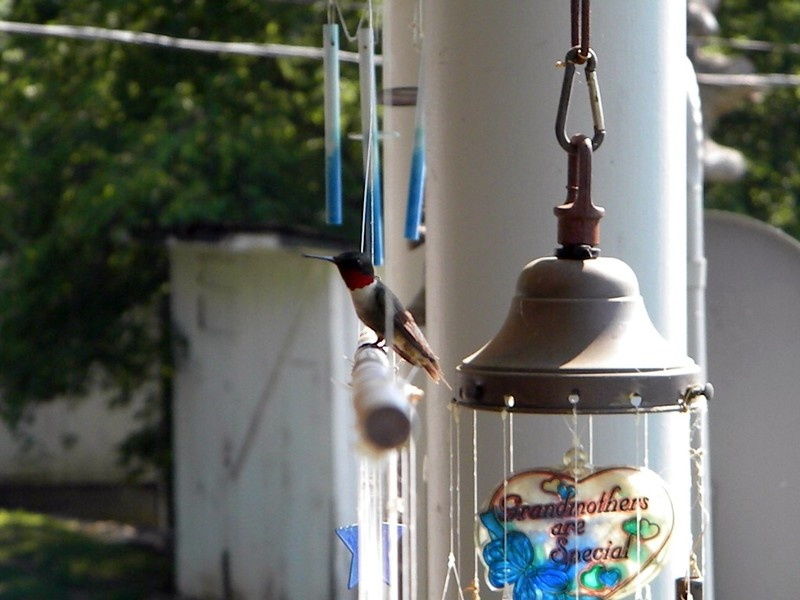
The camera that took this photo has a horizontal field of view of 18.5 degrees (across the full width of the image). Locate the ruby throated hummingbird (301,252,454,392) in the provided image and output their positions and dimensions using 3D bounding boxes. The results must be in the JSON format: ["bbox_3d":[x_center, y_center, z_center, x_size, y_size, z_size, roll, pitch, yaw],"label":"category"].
[{"bbox_3d":[-0.042,0.039,7.122,0.491,0.336,0.148,8,0,-30],"label":"ruby throated hummingbird"}]

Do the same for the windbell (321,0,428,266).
[{"bbox_3d":[-0.081,-0.496,7.433,0.348,0.848,0.441,5,-12,-1],"label":"windbell"}]
